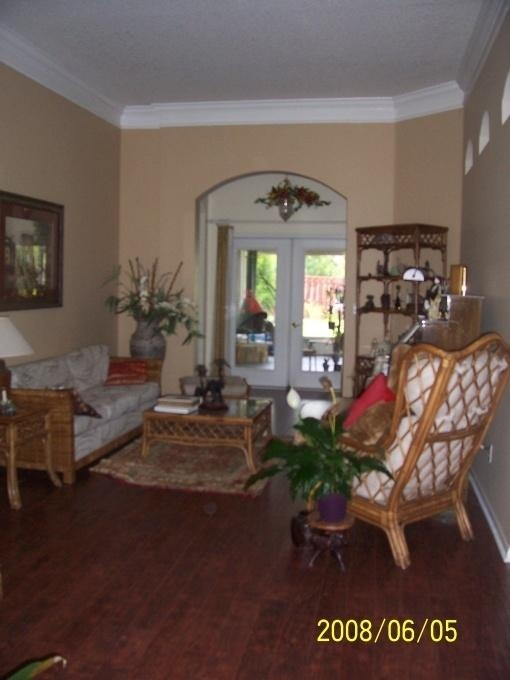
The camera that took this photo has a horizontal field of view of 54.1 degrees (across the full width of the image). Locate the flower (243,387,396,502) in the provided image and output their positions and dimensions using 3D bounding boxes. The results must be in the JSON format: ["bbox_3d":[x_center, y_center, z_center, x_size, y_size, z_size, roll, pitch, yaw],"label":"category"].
[{"bbox_3d":[0.467,0.506,2.593,0.617,0.333,0.737,8,10,-3],"label":"flower"}]

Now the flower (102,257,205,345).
[{"bbox_3d":[-1.142,-0.524,5.760,1.069,0.899,1.034,7,-4,0],"label":"flower"}]

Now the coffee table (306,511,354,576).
[{"bbox_3d":[0.404,0.983,2.632,0.202,0.211,0.198,-2,24,-9],"label":"coffee table"}]

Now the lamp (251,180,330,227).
[{"bbox_3d":[0.467,-1.912,6.721,0.700,0.519,0.913,3,3,43],"label":"lamp"}]

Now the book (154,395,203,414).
[{"bbox_3d":[-0.620,0.510,4.002,0.337,0.106,0.294,2,2,4],"label":"book"}]

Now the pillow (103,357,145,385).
[{"bbox_3d":[-1.284,0.308,5.058,0.297,0.269,0.084,4,-26,-9],"label":"pillow"}]

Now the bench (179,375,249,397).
[{"bbox_3d":[-0.376,0.427,4.755,0.645,0.153,0.703,1,2,-10],"label":"bench"}]

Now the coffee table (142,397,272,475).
[{"bbox_3d":[-0.373,0.693,3.942,0.687,0.306,0.640,2,4,13],"label":"coffee table"}]
